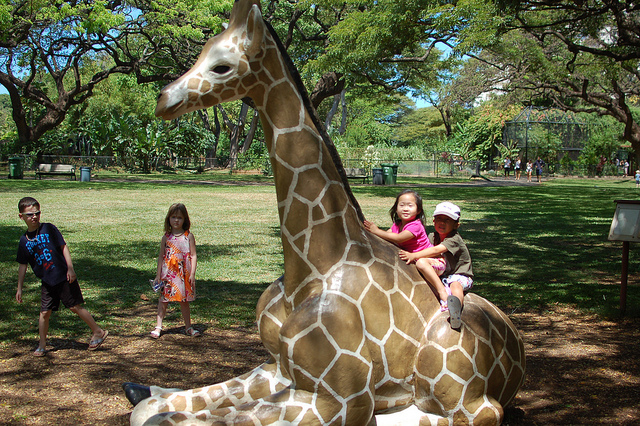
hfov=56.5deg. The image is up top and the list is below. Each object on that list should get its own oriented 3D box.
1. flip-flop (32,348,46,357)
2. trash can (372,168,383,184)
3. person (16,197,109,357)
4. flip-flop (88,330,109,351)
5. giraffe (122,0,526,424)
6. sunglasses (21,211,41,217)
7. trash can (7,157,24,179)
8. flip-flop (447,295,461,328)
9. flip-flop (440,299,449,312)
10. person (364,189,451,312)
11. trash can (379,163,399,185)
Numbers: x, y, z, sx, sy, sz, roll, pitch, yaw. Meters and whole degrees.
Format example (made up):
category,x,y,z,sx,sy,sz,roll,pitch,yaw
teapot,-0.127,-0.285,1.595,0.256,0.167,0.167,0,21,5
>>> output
category,x,y,z,sx,sy,sz,roll,pitch,yaw
flip-flop,-3.624,1.806,7.696,0.156,0.085,0.108,-5,14,-23
trash can,2.984,-1.853,30.713,0.584,0.879,0.719,0,3,5
person,-3.449,0.842,7.681,0.998,1.995,0.512,4,13,18
flip-flop,-2.923,1.706,7.910,0.091,0.338,0.133,36,6,-29
giraffe,0.127,0.036,5.867,3.499,4.221,1.386,3,13,13
sunglasses,-3.715,0.021,7.689,0.201,0.061,0.091,-8,15,-33
trash can,-14.461,-2.098,28.368,0.614,1.085,1.010,-7,15,-28
flip-flop,1.357,1.005,5.968,0.130,0.288,0.057,-10,-6,7
flip-flop,1.276,0.965,6.157,0.067,0.096,0.025,-6,-5,30
person,0.963,0.357,6.660,0.901,1.252,1.002,-4,4,9
trash can,3.609,-2.020,30.929,0.967,1.119,1.027,-1,4,3
